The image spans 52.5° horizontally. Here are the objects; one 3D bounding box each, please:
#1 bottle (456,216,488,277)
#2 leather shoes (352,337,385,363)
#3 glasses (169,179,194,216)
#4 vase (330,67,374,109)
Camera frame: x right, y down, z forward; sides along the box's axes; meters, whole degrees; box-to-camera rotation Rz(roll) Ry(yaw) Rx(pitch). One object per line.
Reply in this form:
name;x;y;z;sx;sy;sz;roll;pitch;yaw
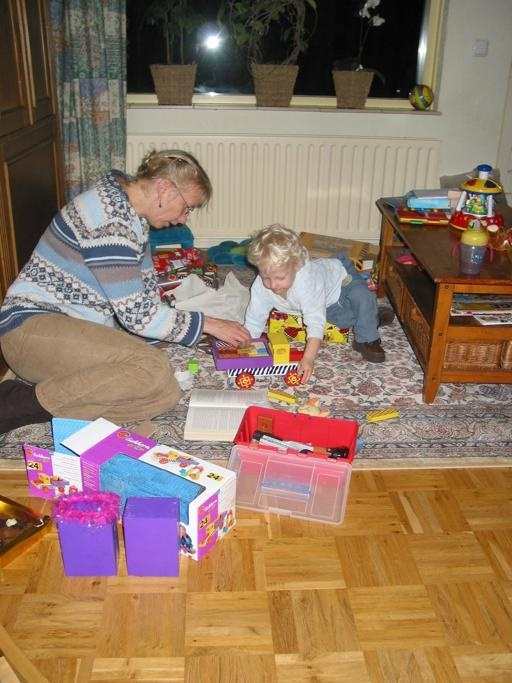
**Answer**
bottle;0.783;-0.337;1.865;0.094;0.175;0.090;-2;25;1
leather shoes;0.508;0.042;2.348;0.061;0.072;0.174;-7;20;-21
glasses;-0.216;-0.441;1.595;0.055;0.133;0.144;7;31;2
vase;0.622;-1.641;3.393;0.279;0.201;0.261;10;27;24
